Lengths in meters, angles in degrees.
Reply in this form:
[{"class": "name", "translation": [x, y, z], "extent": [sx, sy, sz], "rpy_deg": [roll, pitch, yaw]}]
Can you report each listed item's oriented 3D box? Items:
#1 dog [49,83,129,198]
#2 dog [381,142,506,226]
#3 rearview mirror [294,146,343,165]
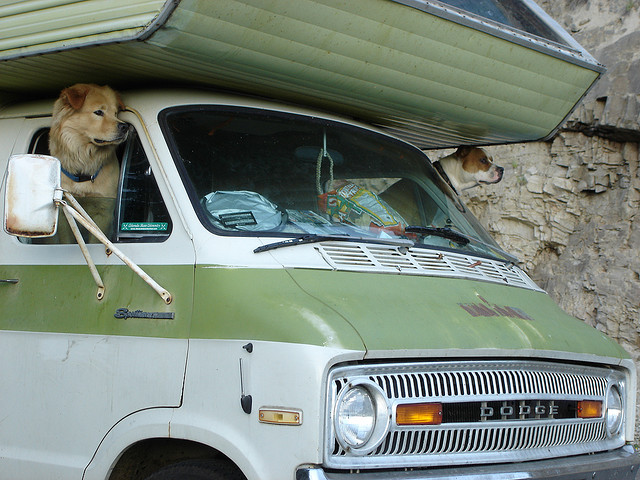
[{"class": "dog", "translation": [-1.571, -0.622, 3.950], "extent": [0.663, 0.844, 0.528], "rpy_deg": [4, 8, 16]}, {"class": "dog", "translation": [1.461, -0.623, 7.298], "extent": [0.600, 0.831, 1.985], "rpy_deg": [13, -11, -36]}, {"class": "rearview mirror", "translation": [-0.023, -0.578, 3.883], "extent": [0.356, 0.112, 0.036], "rpy_deg": [5, -4, -30]}]
